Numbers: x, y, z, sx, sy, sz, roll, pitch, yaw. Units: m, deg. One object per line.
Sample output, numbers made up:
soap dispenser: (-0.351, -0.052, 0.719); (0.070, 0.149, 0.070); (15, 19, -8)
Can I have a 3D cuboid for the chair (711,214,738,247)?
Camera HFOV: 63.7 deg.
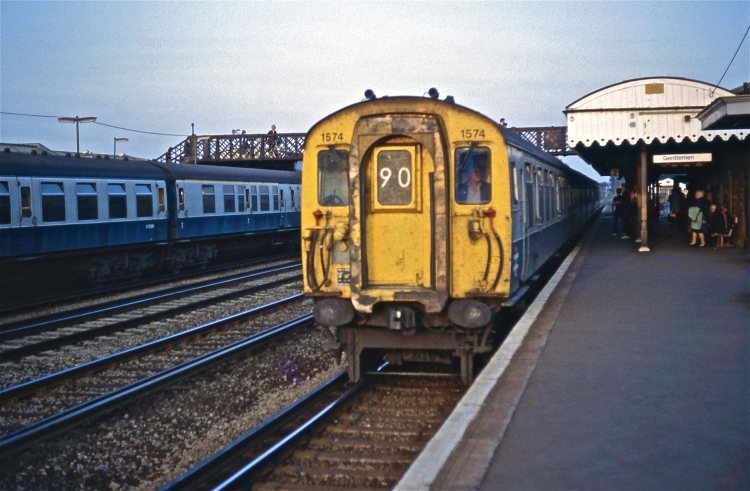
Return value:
chair: (11.393, -0.424, 19.577); (0.819, 1.500, 0.852); (1, 4, 31)
